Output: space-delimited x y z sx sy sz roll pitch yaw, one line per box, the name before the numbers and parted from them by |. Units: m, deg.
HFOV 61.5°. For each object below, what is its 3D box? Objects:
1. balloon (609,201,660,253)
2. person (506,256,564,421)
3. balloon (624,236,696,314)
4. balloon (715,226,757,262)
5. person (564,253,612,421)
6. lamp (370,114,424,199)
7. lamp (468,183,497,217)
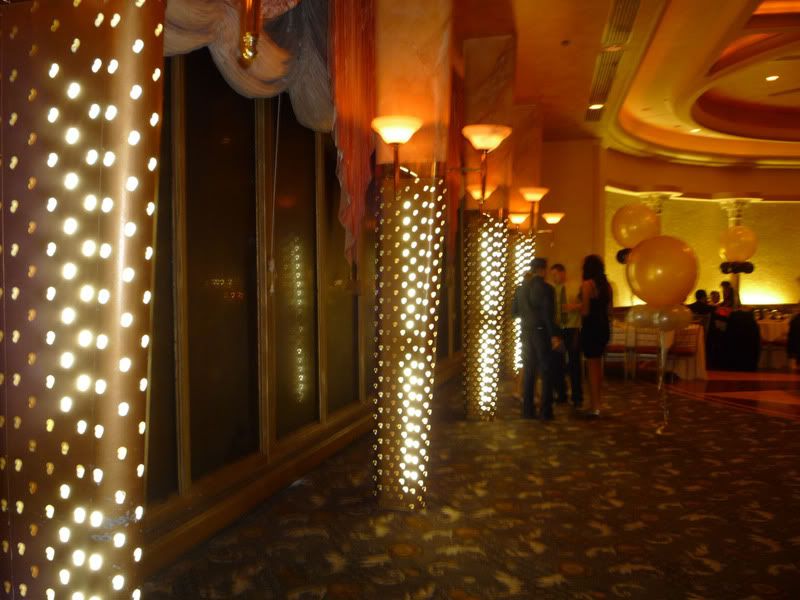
balloon | 2.974 -0.951 8.597 0.535 0.626 0.541 8 -7 22
person | 1.368 0.367 6.649 0.312 1.563 0.565 -2 5 -24
balloon | 2.426 -0.261 6.242 0.638 0.752 0.650 2 -17 8
balloon | 5.627 -0.887 11.147 0.559 0.659 0.570 21 53 41
person | 2.034 0.345 7.112 0.393 1.637 1.493 2 5 17
lamp | -0.026 -0.885 4.123 0.415 0.499 0.394 -1 5 -6
lamp | 0.894 -1.033 6.804 0.340 0.397 0.343 2 -7 -6
